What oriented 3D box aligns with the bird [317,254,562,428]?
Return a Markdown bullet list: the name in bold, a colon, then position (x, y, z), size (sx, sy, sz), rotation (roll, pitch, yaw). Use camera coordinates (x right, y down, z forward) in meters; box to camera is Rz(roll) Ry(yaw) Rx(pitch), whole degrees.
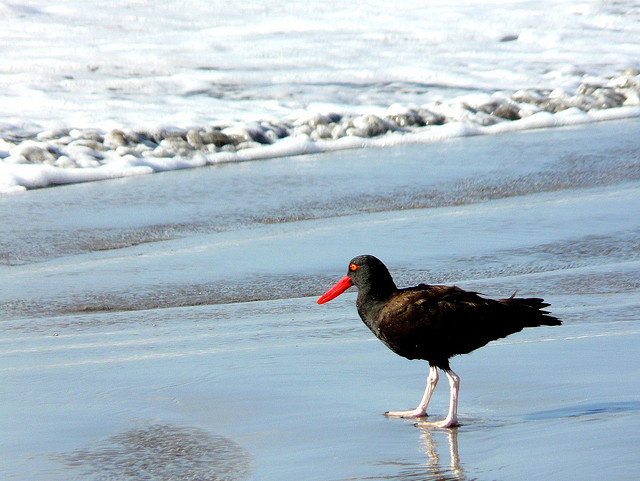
- **bird**: position (1.184, 1.060, 9.203), size (2.895, 1.090, 0.725), rotation (0, -6, 8)
